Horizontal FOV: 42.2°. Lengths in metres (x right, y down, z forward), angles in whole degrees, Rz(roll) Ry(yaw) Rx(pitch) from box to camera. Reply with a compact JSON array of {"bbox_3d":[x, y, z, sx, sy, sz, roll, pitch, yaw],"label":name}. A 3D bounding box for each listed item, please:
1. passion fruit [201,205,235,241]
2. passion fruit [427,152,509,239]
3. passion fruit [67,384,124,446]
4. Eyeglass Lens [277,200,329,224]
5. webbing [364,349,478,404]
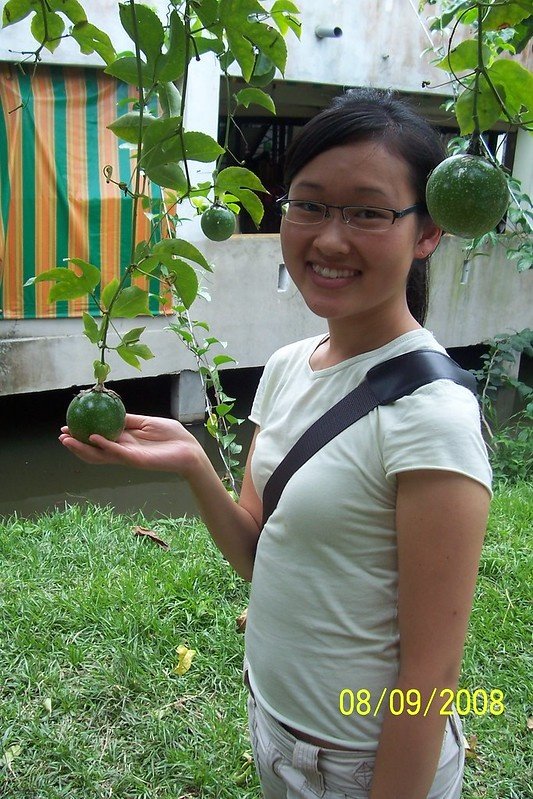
[{"bbox_3d":[-0.101,-0.373,1.492,0.080,0.086,0.076,4,20,-10],"label":"passion fruit"},{"bbox_3d":[0.229,-0.232,0.849,0.102,0.112,0.100,5,2,-4],"label":"passion fruit"},{"bbox_3d":[-0.293,0.025,1.207,0.102,0.116,0.102,6,2,37],"label":"passion fruit"},{"bbox_3d":[0.063,-0.306,1.133,0.063,0.017,0.062,-14,34,-25],"label":"Eyeglass Lens"},{"bbox_3d":[0.224,-0.034,1.032,0.129,0.046,0.089,-15,-12,-36],"label":"webbing"}]
